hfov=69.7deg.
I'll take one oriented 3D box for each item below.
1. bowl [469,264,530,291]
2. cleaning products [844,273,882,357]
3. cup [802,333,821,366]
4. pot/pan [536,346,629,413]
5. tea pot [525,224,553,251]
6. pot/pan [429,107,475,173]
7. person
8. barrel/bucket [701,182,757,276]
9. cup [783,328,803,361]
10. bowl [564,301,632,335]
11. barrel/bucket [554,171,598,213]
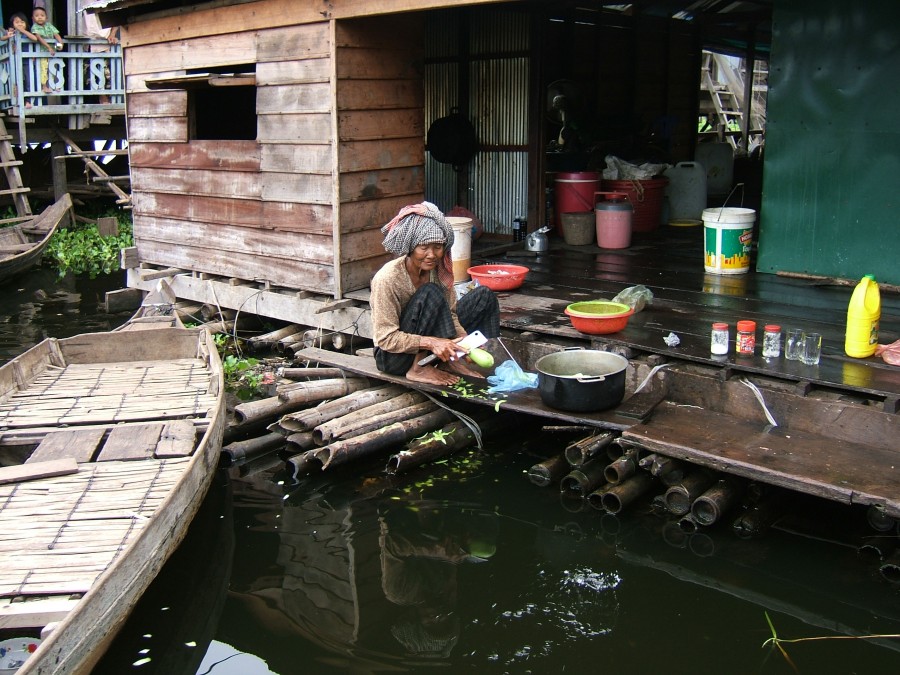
[{"bbox_3d":[0.466,-0.594,6.346,0.421,0.134,0.389,-4,8,1],"label":"bowl"},{"bbox_3d":[2.876,-0.143,4.490,0.231,0.554,0.233,2,17,16],"label":"cleaning products"},{"bbox_3d":[2.469,0.081,4.429,0.116,0.190,0.187,6,18,28],"label":"cup"},{"bbox_3d":[0.910,0.309,4.510,0.547,0.334,0.516,-13,19,-35],"label":"pot/pan"},{"bbox_3d":[1.045,-1.184,7.869,0.269,0.293,0.334,-1,16,7],"label":"tea pot"},{"bbox_3d":[0.005,-2.517,8.246,0.664,0.747,0.187,7,19,30],"label":"pot/pan"},{"bbox_3d":[-0.143,-0.305,5.008,0.760,1.557,0.636,4,6,37],"label":"person"},{"bbox_3d":[2.982,-1.067,6.948,0.566,0.742,0.467,7,15,26],"label":"barrel/bucket"},{"bbox_3d":[2.373,0.061,4.471,0.106,0.193,0.110,-3,16,1],"label":"cup"},{"bbox_3d":[1.180,-0.145,5.145,0.485,0.205,0.418,2,16,16],"label":"bowl"},{"bbox_3d":[1.642,-1.903,8.579,0.603,0.531,0.600,-1,15,0],"label":"barrel/bucket"}]
